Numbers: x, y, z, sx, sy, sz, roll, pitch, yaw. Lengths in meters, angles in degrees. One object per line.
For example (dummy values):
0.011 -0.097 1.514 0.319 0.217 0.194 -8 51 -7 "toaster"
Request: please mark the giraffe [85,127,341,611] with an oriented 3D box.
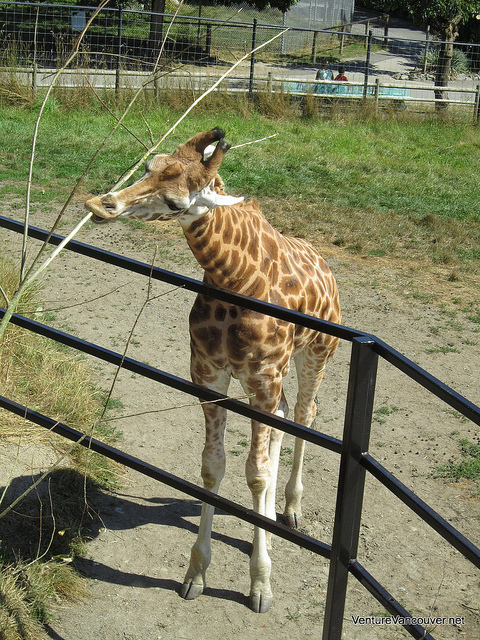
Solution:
-0.057 0.210 2.902 0.803 1.891 1.636 8 15 9 "giraffe"
